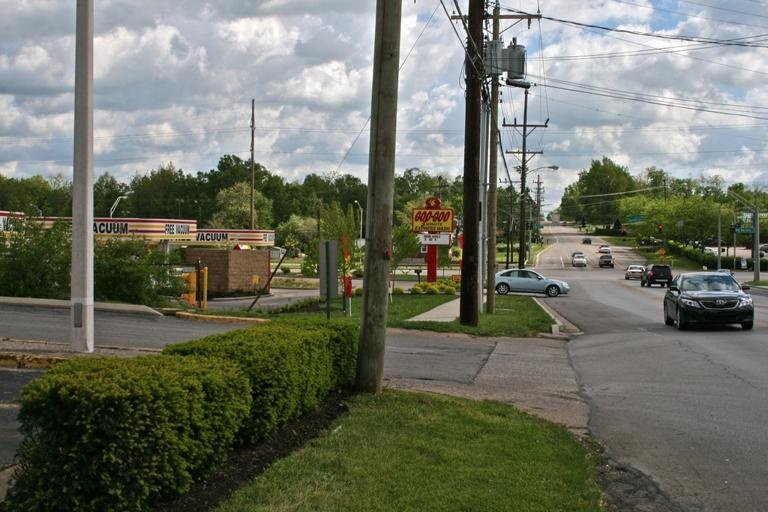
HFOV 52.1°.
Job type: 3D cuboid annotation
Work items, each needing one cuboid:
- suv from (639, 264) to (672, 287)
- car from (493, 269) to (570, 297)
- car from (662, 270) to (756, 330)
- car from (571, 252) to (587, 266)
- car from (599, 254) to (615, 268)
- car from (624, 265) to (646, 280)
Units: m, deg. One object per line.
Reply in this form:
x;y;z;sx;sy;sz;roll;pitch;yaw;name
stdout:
18.461;1.399;53.544;1.196;1.082;2.408;0;6;3;suv
8.125;1.684;43.715;3.926;1.339;1.837;-1;0;10;car
10.214;1.455;25.427;1.412;1.065;3.146;0;-6;5;car
21.036;0.607;85.090;1.089;0.980;2.669;1;10;8;car
24.156;0.603;85.973;1.153;0.916;1.890;2;7;7;car
19.931;1.351;62.891;0.909;0.681;2.051;0;5;9;car
